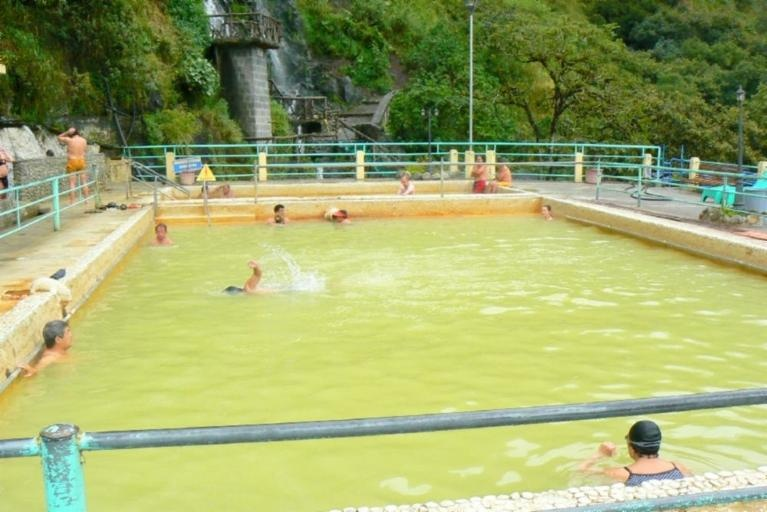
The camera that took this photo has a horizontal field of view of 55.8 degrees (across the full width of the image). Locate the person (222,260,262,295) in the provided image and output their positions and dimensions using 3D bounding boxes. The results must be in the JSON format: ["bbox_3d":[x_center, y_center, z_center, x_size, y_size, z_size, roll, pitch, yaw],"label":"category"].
[{"bbox_3d":[-2.608,0.346,13.402,0.672,0.801,1.348,-3,15,-13],"label":"person"}]

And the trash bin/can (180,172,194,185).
[{"bbox_3d":[-7.140,-2.814,26.424,0.444,0.330,0.443,-1,10,-19],"label":"trash bin/can"}]

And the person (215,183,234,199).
[{"bbox_3d":[-5.198,-2.117,23.725,0.535,0.334,0.847,-3,15,-13],"label":"person"}]

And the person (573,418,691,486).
[{"bbox_3d":[2.687,2.102,7.503,1.199,0.673,0.689,-5,31,10],"label":"person"}]
